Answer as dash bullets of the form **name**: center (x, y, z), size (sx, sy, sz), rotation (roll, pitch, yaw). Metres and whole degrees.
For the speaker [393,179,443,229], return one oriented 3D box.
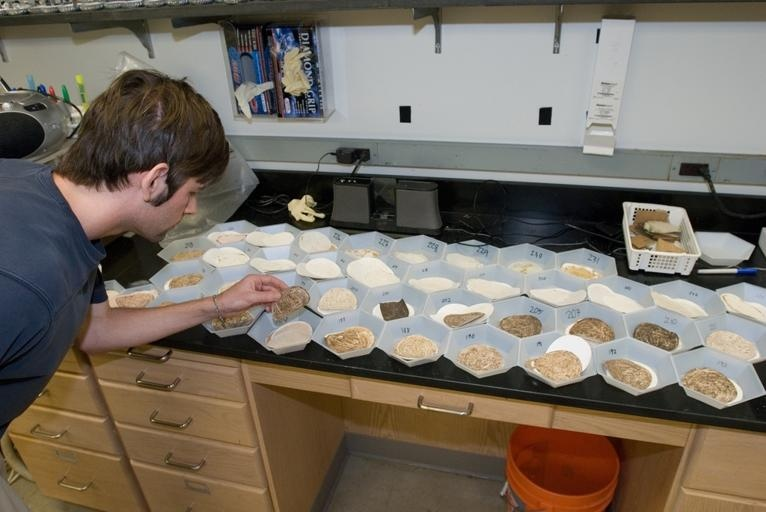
- **speaker**: center (0.148, -0.234, 2.174), size (0.257, 0.241, 0.145), rotation (7, 23, 12)

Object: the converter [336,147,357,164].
- **converter**: center (-0.167, -0.450, 2.222), size (0.090, 0.075, 0.051), rotation (6, 25, 16)

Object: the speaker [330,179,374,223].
- **speaker**: center (-0.115, -0.243, 2.223), size (0.181, 0.195, 0.213), rotation (7, 28, 16)

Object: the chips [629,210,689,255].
- **chips**: center (1.083, -0.119, 1.886), size (0.172, 0.077, 0.218), rotation (3, 27, 9)
